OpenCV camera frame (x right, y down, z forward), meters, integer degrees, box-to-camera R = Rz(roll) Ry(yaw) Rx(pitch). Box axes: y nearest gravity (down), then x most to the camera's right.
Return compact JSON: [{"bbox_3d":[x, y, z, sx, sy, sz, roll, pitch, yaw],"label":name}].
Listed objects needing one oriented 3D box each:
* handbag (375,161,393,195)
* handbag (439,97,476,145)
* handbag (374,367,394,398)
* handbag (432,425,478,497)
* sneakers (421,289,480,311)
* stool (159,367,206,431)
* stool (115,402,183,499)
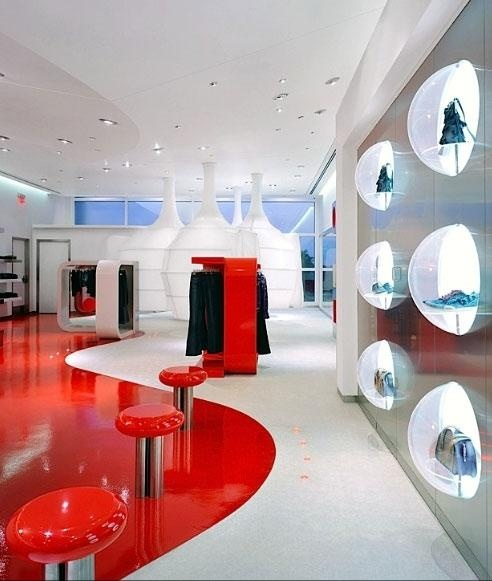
[{"bbox_3d":[0.718,-0.585,2.325,0.084,0.160,0.060,-1,0,16],"label":"handbag"},{"bbox_3d":[0.678,-0.553,1.451,0.096,0.070,0.146,7,-38,36],"label":"handbag"},{"bbox_3d":[0.714,0.472,2.307,0.072,0.143,0.126,-1,0,-4],"label":"handbag"},{"bbox_3d":[0.692,0.549,1.497,0.078,0.190,0.228,-1,-15,5],"label":"handbag"},{"bbox_3d":[0.646,0.029,1.419,0.151,0.065,0.057,0,-5,2],"label":"sneakers"},{"bbox_3d":[-0.398,0.738,3.137,0.362,0.520,0.372,1,4,-1],"label":"stool"},{"bbox_3d":[-0.455,0.759,2.111,0.298,0.418,0.325,-1,0,-37],"label":"stool"}]
